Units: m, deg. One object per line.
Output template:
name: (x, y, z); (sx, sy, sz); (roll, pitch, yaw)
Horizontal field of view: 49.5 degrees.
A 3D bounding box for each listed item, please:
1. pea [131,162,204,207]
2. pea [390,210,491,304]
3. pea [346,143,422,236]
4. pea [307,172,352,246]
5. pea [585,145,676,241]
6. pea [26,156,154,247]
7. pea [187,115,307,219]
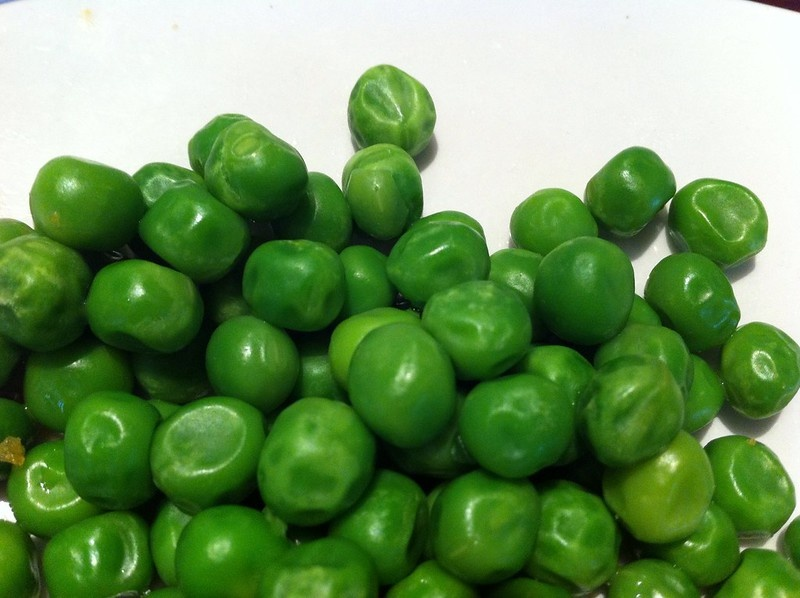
pea: (-0.405, -0.200, 1.503); (0.098, 0.073, 0.080); (-14, 13, -33)
pea: (0.065, -0.048, 1.475); (0.167, 0.169, 0.141); (-6, -4, -1)
pea: (-0.023, -0.194, 1.572); (0.127, 0.153, 0.162); (-23, 31, -34)
pea: (-0.121, -0.151, 1.496); (0.075, 0.122, 0.059); (-20, -4, 36)
pea: (0.433, -0.209, 1.628); (0.131, 0.150, 0.170); (-6, 8, -35)
pea: (-0.506, -0.153, 1.404); (0.172, 0.163, 0.139); (-1, 11, -27)
pea: (-0.256, -0.217, 1.468); (0.222, 0.148, 0.163); (29, 35, 34)
